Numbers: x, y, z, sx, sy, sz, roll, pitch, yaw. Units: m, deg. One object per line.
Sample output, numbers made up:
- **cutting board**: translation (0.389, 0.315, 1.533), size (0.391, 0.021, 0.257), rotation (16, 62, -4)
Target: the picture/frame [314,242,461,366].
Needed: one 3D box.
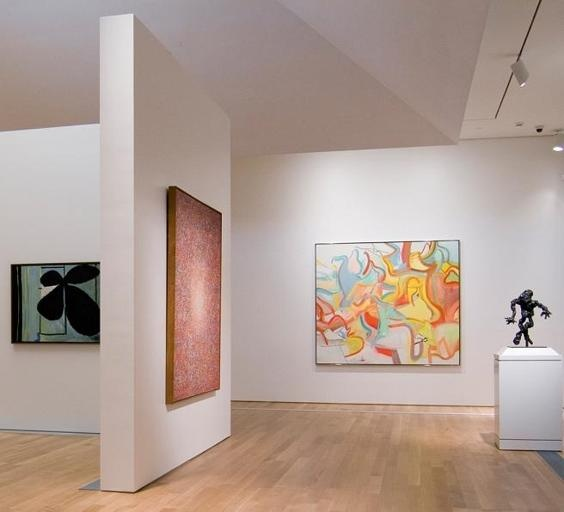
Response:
- **picture/frame**: translation (1.919, 0.854, 7.971), size (1.778, 1.794, 0.030), rotation (0, -1, 15)

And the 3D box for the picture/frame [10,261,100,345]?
- **picture/frame**: translation (-2.906, 0.624, 6.005), size (0.893, 0.909, 0.034), rotation (0, -1, 12)

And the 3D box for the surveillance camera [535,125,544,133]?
- **surveillance camera**: translation (4.132, -2.008, 7.432), size (0.074, 0.067, 0.074), rotation (-2, -9, 6)
